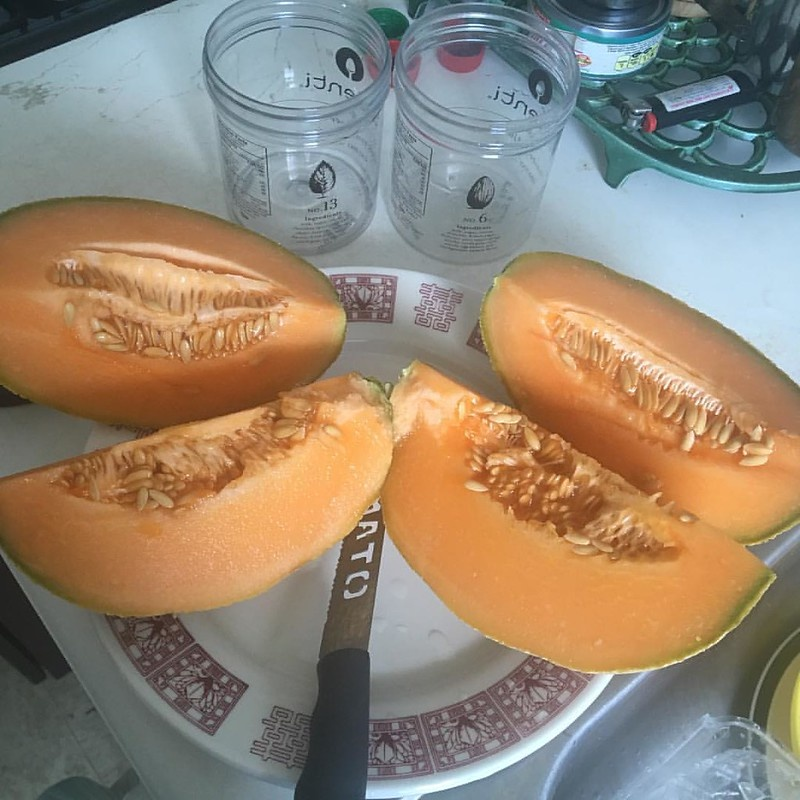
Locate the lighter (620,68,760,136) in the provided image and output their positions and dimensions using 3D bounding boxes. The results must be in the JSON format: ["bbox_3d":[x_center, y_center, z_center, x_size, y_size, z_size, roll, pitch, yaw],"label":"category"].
[{"bbox_3d":[0.361,-0.373,1.056,0.220,0.031,0.058,-13,52,-11],"label":"lighter"}]
